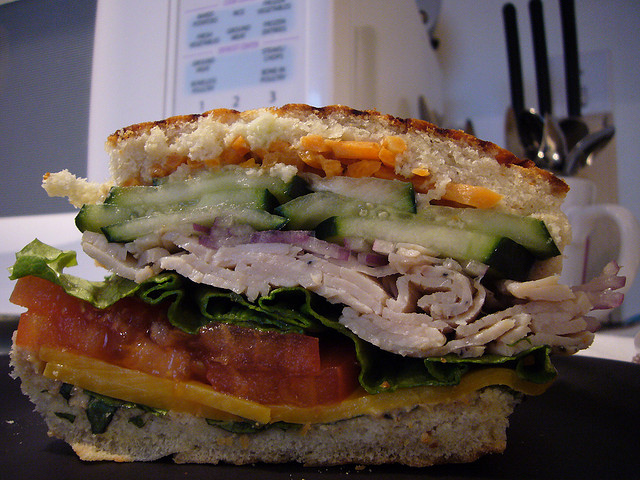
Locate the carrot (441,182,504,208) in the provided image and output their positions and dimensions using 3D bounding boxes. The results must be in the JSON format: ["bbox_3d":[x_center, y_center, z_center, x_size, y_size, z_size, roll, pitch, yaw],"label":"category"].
[{"bbox_3d":[0.527,-0.154,2.564,0.261,0.077,0.066,9,-4,0],"label":"carrot"}]

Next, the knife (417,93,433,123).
[{"bbox_3d":[0.636,-0.816,4.453,0.047,0.171,0.187,-1,1,33],"label":"knife"}]

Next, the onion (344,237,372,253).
[{"bbox_3d":[0.135,0.015,2.487,0.060,0.017,0.062,31,24,30],"label":"onion"}]

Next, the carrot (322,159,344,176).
[{"bbox_3d":[0.044,-0.251,2.536,0.058,0.059,0.017,-15,3,-4],"label":"carrot"}]

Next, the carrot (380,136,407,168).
[{"bbox_3d":[0.252,-0.306,2.541,0.101,0.024,0.114,-31,-8,17],"label":"carrot"}]

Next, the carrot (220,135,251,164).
[{"bbox_3d":[-0.304,-0.315,2.561,0.120,0.088,0.042,-42,18,14],"label":"carrot"}]

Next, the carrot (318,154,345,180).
[{"bbox_3d":[0.038,-0.258,2.533,0.081,0.078,0.024,6,2,-14],"label":"carrot"}]

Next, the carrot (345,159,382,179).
[{"bbox_3d":[0.157,-0.250,2.539,0.118,0.062,0.027,-15,-5,8],"label":"carrot"}]

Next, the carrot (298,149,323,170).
[{"bbox_3d":[-0.035,-0.283,2.533,0.073,0.056,0.018,27,42,0],"label":"carrot"}]

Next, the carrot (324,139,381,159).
[{"bbox_3d":[0.113,-0.309,2.522,0.158,0.079,0.048,3,-16,2],"label":"carrot"}]
